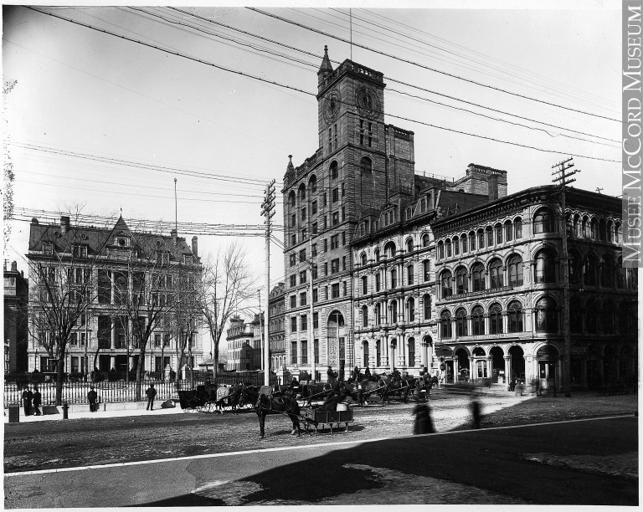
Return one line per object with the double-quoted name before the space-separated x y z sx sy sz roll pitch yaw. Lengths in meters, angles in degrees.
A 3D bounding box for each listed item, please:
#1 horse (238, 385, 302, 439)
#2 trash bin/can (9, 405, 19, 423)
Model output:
"horse" -2.966 7.014 45.160 4.180 3.405 1.403 2 -14 -7
"trash bin/can" -16.373 8.368 50.712 0.589 1.154 0.598 3 -13 -29
